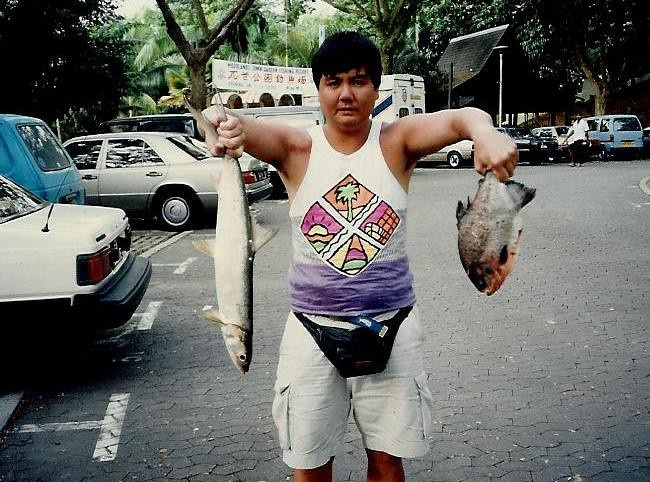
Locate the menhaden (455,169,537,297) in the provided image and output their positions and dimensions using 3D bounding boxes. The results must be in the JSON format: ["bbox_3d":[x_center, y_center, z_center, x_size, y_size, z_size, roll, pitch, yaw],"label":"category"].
[{"bbox_3d":[0.618,-0.033,1.876,0.248,0.417,0.129,1,11,16],"label":"menhaden"}]

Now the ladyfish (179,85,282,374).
[{"bbox_3d":[-0.366,0.047,2.096,0.408,1.230,0.254,-3,-2,4],"label":"ladyfish"}]

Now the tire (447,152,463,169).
[{"bbox_3d":[6.304,-3.918,25.025,0.665,0.716,0.248,14,7,30],"label":"tire"}]

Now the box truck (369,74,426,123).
[{"bbox_3d":[2.946,-5.602,22.109,1.531,2.442,2.643,-7,9,-24],"label":"box truck"}]
